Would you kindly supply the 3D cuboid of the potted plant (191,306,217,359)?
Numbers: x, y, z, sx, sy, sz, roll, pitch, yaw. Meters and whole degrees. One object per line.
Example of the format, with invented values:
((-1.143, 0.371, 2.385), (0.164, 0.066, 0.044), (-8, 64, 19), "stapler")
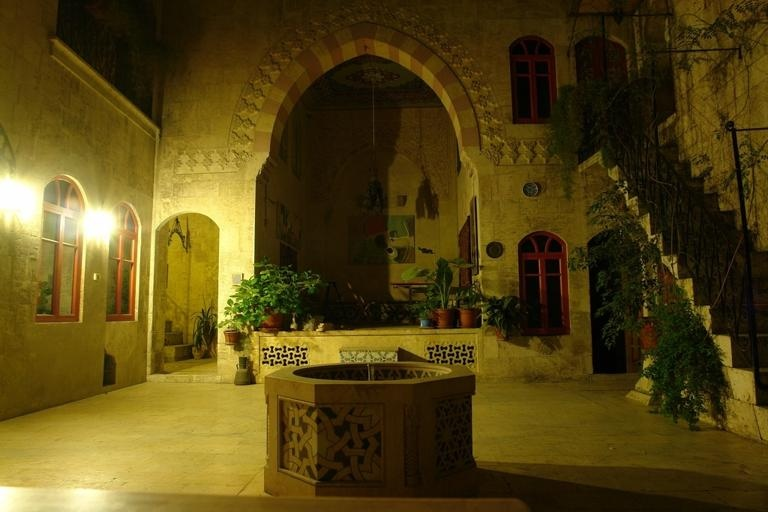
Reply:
((-4.346, 1.846, 15.045), (0.528, 1.244, 0.421), (6, -10, -33), "potted plant")

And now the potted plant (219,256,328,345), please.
((-2.127, 0.825, 12.376), (1.640, 1.150, 1.491), (-1, 1, 17), "potted plant")
